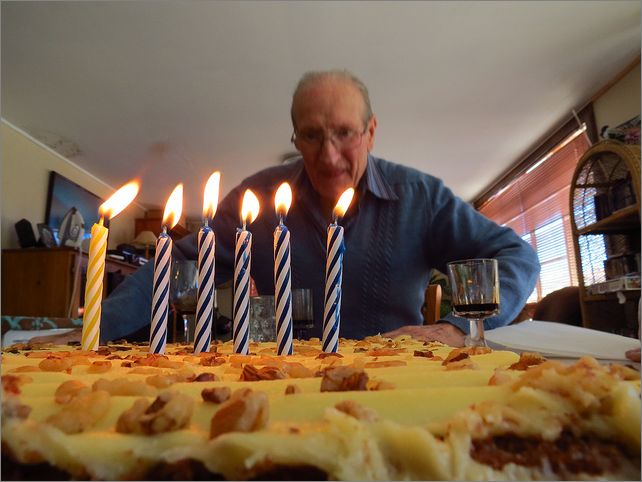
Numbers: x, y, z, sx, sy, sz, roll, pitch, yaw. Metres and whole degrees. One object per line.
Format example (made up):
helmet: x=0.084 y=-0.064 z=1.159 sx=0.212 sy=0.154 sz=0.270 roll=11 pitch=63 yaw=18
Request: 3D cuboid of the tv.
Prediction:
tv: x=-2.897 y=-0.268 z=5.217 sx=0.045 sy=0.890 sz=1.129 roll=-14 pitch=9 yaw=-39

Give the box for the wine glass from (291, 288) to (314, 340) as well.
wine glass: x=-0.050 y=0.221 z=1.408 sx=0.088 sy=0.136 sz=0.086 roll=-6 pitch=-5 yaw=34

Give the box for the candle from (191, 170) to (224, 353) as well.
candle: x=-0.269 y=0.046 z=1.094 sx=0.062 sy=0.446 sz=0.141 roll=8 pitch=-16 yaw=-14

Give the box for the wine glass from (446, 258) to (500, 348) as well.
wine glass: x=0.381 y=0.160 z=1.157 sx=0.125 sy=0.228 sz=0.168 roll=-4 pitch=-18 yaw=26

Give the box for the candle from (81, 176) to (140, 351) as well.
candle: x=-0.499 y=0.024 z=1.046 sx=0.062 sy=0.413 sz=0.045 roll=12 pitch=-40 yaw=-22

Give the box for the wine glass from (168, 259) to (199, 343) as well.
wine glass: x=-0.482 y=0.260 z=1.632 sx=0.096 sy=0.402 sz=0.108 roll=2 pitch=7 yaw=-1
